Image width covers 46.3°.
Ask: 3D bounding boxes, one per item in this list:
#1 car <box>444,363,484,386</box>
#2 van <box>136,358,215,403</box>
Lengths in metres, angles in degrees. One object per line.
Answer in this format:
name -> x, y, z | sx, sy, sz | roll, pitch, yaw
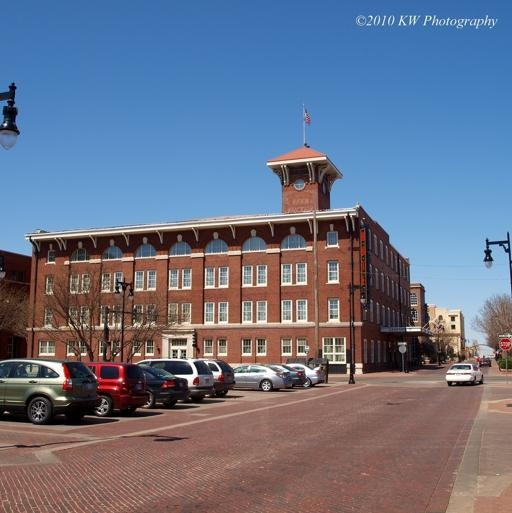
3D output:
car -> 12.515, 7.136, 36.151 | 1.302, 0.874, 2.931 | -3, -5, 22
van -> -3.363, 4.970, 24.689 | 3.093, 1.234, 1.417 | -1, -9, 20
